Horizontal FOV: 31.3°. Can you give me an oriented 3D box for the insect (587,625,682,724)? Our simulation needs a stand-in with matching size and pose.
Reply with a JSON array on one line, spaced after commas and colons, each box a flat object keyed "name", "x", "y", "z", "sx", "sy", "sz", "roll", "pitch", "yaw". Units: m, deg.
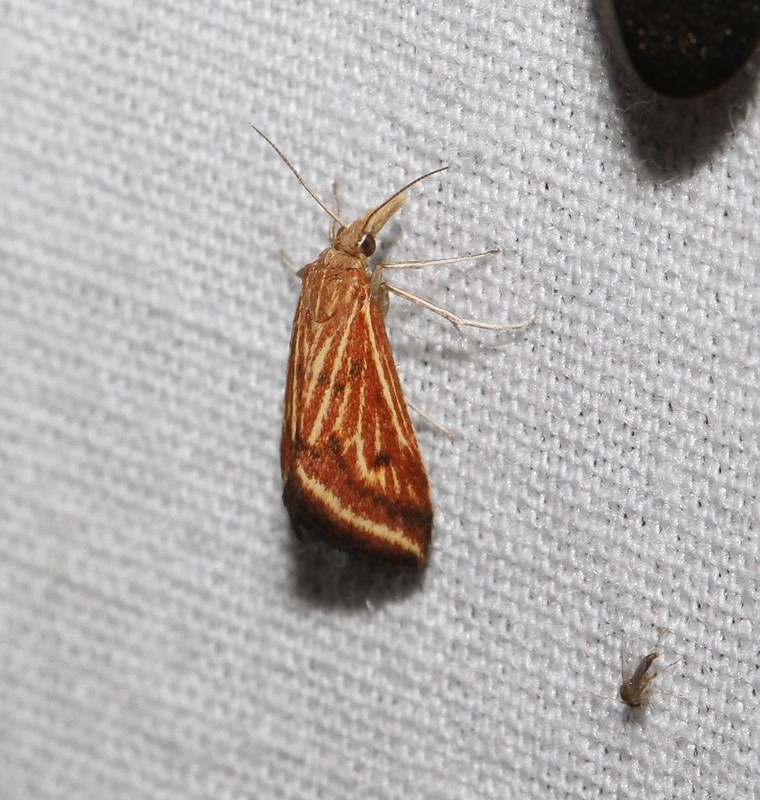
[{"name": "insect", "x": 0.376, "y": 0.406, "z": 1.952, "sx": 0.078, "sy": 0.037, "sz": 0.144, "roll": 8, "pitch": 86, "yaw": 35}]
